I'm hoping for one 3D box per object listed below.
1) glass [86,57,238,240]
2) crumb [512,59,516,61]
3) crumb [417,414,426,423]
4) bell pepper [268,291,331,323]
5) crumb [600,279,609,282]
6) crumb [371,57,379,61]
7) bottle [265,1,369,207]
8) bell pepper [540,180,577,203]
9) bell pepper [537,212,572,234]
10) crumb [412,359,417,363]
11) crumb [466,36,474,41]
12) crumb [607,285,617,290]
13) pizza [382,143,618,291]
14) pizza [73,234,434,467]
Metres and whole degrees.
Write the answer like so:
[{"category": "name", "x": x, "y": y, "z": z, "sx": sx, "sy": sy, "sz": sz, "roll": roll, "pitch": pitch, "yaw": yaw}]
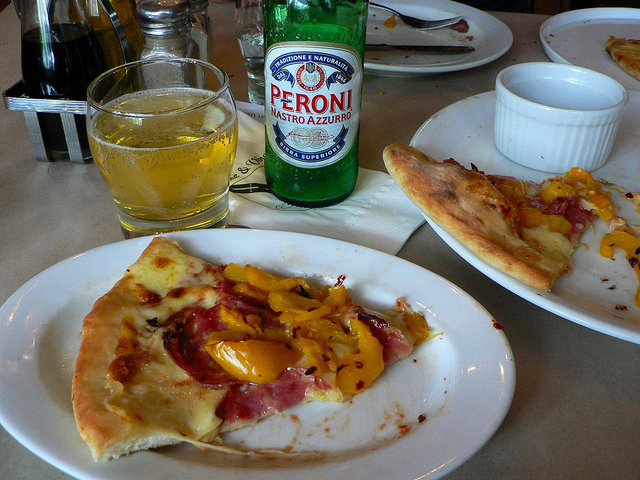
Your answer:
[{"category": "glass", "x": -0.256, "y": -0.103, "z": 0.993, "sx": 0.233, "sy": 0.264, "sz": 0.243, "roll": -10, "pitch": 2, "yaw": 12}, {"category": "crumb", "x": 0.577, "y": -0.536, "z": 1.591, "sx": 0.008, "sy": 0.002, "sz": 0.007, "roll": -1, "pitch": 45, "yaw": 3}, {"category": "crumb", "x": 0.133, "y": 0.235, "z": 0.705, "sx": 0.006, "sy": 0.002, "sz": 0.007, "roll": 20, "pitch": 31, "yaw": 33}, {"category": "bell pepper", "x": -0.038, "y": 0.098, "z": 0.784, "sx": 0.092, "sy": 0.039, "sz": 0.090, "roll": -3, "pitch": 13, "yaw": -28}, {"category": "crumb", "x": 0.469, "y": 0.065, "z": 0.879, "sx": 0.006, "sy": 0.002, "sz": 0.004, "roll": -13, "pitch": 32, "yaw": -28}, {"category": "crumb", "x": 0.155, "y": -0.510, "z": 1.506, "sx": 0.019, "sy": 0.009, "sz": 0.027, "roll": 0, "pitch": 42, "yaw": 2}, {"category": "bottle", "x": -0.020, "y": -0.246, "z": 0.996, "sx": 0.200, "sy": 0.343, "sz": 0.184, "roll": -1, "pitch": 42, "yaw": 1}, {"category": "bell pepper", "x": 0.443, "y": -0.098, "z": 0.976, "sx": 0.045, "sy": 0.018, "sz": 0.050, "roll": -3, "pitch": 32, "yaw": 5}, {"category": "bell pepper", "x": 0.417, "y": -0.028, "z": 0.948, "sx": 0.056, "sy": 0.021, "sz": 0.034, "roll": 14, "pitch": 44, "yaw": 17}, {"category": "crumb", "x": 0.137, "y": 0.175, "z": 0.772, "sx": 0.004, "sy": 0.001, "sz": 0.004, "roll": -1, "pitch": 45, "yaw": 4}, {"category": "crumb", "x": 0.467, "y": -0.630, "z": 1.676, "sx": 0.018, "sy": 0.007, "sz": 0.018, "roll": 26, "pitch": 4, "yaw": 37}, {"category": "crumb", "x": 0.477, "y": 0.076, "z": 0.868, "sx": 0.009, "sy": 0.002, "sz": 0.006, "roll": -16, "pitch": 38, "yaw": 21}, {"category": "pizza", "x": 0.374, "y": -0.065, "z": 0.977, "sx": 0.442, "sy": 0.067, "sz": 0.405, "roll": -2, "pitch": 39, "yaw": -9}, {"category": "pizza", "x": -0.137, "y": 0.128, "z": 0.725, "sx": 0.319, "sy": 0.055, "sz": 0.300, "roll": -30, "pitch": 54, "yaw": -35}]
